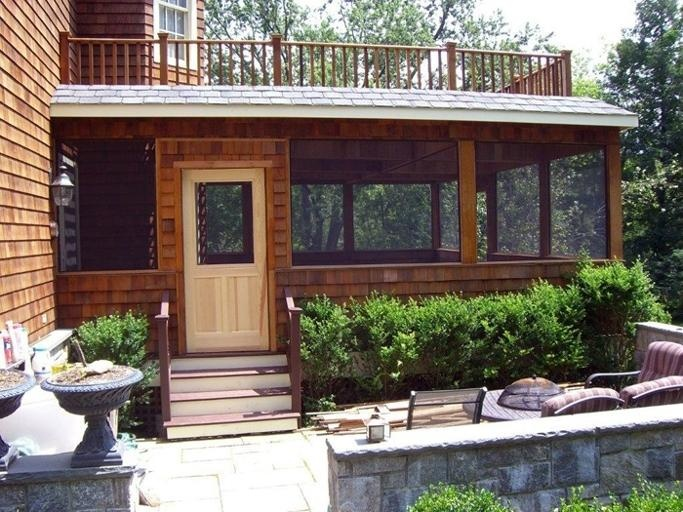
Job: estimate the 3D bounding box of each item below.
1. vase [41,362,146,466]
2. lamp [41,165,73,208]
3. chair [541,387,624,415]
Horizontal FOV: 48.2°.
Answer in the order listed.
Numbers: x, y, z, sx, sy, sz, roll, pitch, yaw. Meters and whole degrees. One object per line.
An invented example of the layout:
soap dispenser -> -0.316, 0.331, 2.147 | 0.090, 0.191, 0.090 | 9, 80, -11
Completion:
vase -> -2.581, 1.650, 7.971 | 0.883, 1.008, 1.028 | 0, 8, 3
lamp -> -3.930, -0.975, 10.710 | 0.347, 0.573, 0.364 | 2, 2, 16
chair -> 2.612, 1.581, 8.259 | 0.977, 0.257, 0.226 | -3, -1, -15
